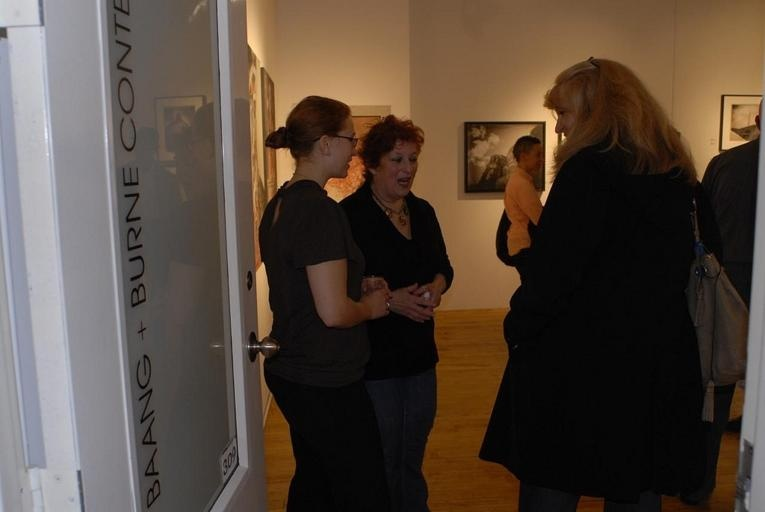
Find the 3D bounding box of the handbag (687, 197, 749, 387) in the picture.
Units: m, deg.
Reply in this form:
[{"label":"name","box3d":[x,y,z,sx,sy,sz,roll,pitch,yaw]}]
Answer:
[{"label":"handbag","box3d":[1.185,0.141,2.322,0.200,0.674,0.129,-5,6,-16]}]
